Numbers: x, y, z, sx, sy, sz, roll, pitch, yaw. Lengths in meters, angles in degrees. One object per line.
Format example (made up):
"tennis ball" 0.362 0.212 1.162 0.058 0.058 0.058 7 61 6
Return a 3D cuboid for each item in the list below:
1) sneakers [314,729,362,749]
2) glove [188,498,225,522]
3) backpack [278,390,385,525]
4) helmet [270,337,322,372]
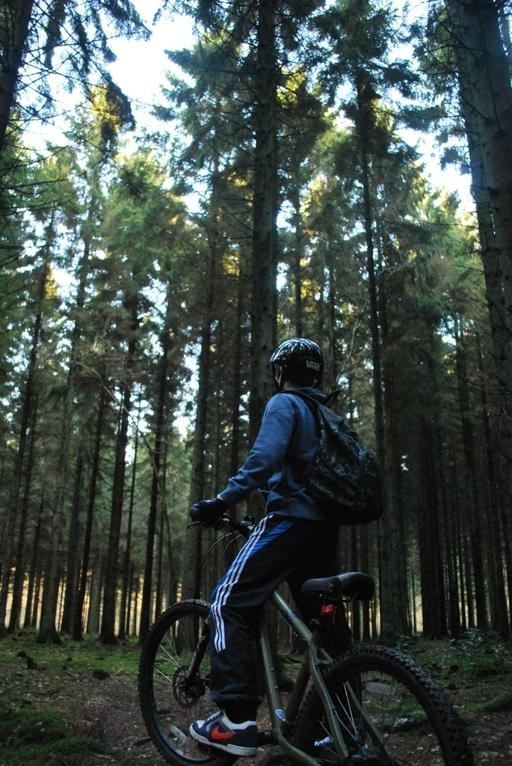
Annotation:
"sneakers" 0.364 1.551 2.851 0.083 0.096 0.312 3 -26 -29
"glove" -0.233 0.592 3.044 0.157 0.066 0.123 15 -45 -19
"backpack" 0.385 0.360 3.076 0.579 0.585 0.417 -1 -30 25
"helmet" 0.237 -0.155 3.659 0.186 0.226 0.230 13 -4 -25
